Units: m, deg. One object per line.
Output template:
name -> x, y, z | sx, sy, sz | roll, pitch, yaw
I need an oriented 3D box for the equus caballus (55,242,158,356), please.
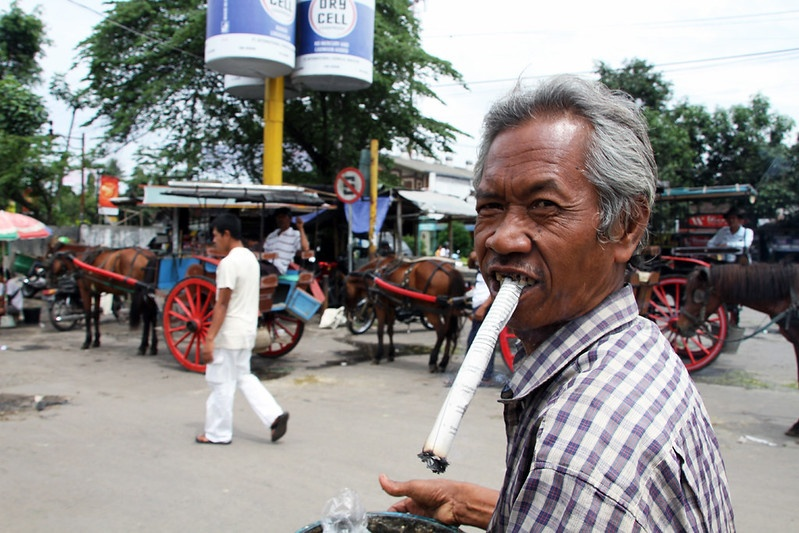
equus caballus -> -5.682, 0.635, 13.948 | 2.905, 1.987, 0.764 | 4, 2, 24

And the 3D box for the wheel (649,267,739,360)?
wheel -> 4.839, 0.943, 12.040 | 1.608, 1.470, 1.183 | 14, 12, 27

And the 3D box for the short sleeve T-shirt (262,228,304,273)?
short sleeve T-shirt -> -2.046, -0.283, 12.597 | 0.733, 0.851, 0.481 | 0, -26, 18

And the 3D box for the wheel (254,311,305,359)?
wheel -> -2.140, 1.242, 13.055 | 0.897, 0.864, 0.211 | 8, -2, 37

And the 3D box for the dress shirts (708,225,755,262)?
dress shirts -> 5.662, -0.348, 12.209 | 0.661, 0.452, 0.837 | -5, -44, 17

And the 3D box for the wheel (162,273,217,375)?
wheel -> -3.345, 0.869, 11.404 | 0.408, 1.417, 1.419 | 3, 9, -44

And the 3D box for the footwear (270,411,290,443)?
footwear -> -1.497, 2.009, 9.030 | 0.178, 0.428, 0.182 | 12, -3, 43

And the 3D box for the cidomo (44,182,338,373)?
cidomo -> -4.008, 0.226, 13.061 | 5.183, 3.051, 2.511 | 4, 0, 21

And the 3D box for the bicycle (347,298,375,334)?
bicycle -> -0.870, 1.155, 15.488 | 0.593, 0.639, 0.615 | 8, 1, 29
